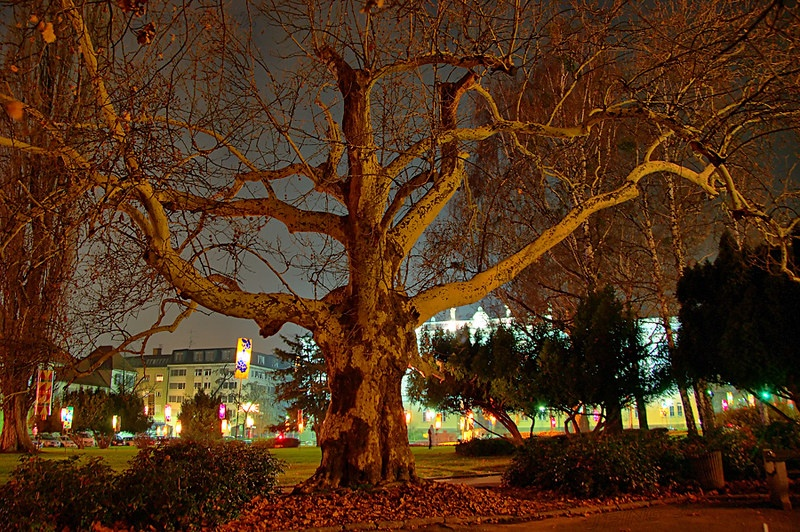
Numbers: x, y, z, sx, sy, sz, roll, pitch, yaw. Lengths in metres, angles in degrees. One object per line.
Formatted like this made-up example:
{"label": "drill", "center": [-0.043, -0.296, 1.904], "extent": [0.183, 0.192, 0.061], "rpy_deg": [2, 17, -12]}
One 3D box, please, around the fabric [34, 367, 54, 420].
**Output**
{"label": "fabric", "center": [-16.207, 5.780, 28.861], "extent": [0.662, 2.146, 0.092], "rpy_deg": [4, -1, -22]}
